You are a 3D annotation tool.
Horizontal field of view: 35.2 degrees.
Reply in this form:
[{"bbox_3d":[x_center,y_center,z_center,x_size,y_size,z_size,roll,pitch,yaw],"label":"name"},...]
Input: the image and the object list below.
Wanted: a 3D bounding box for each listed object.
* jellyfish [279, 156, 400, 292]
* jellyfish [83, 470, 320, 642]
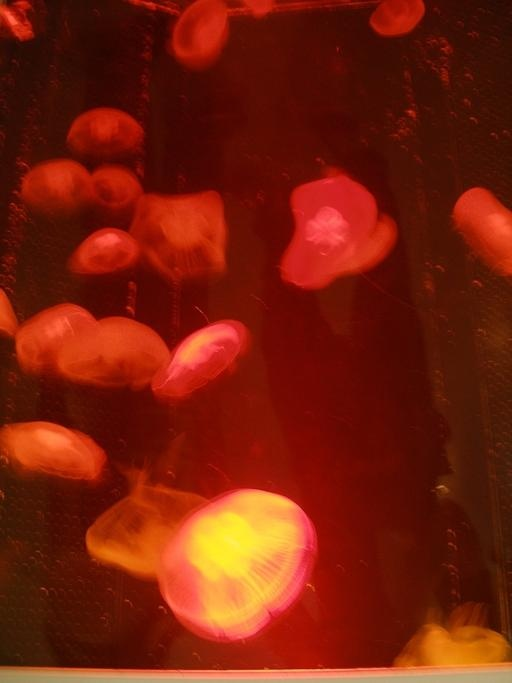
[{"bbox_3d":[0.116,-0.168,1.211,0.180,0.046,0.160,-14,66,-10],"label":"jellyfish"},{"bbox_3d":[-0.049,0.279,1.063,0.248,0.077,0.192,20,70,6],"label":"jellyfish"}]
